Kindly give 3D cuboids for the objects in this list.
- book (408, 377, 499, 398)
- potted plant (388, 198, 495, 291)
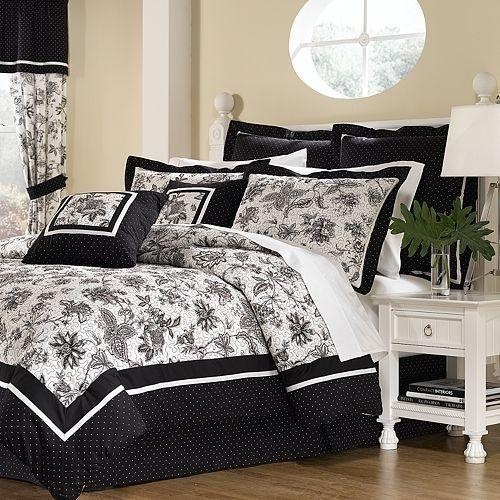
[{"bbox_3d":[0.757,0.538,2.035,0.160,0.019,0.137,-1,0,-22],"label":"book"},{"bbox_3d":[0.842,-0.027,2.244,0.485,0.416,0.406,2,-5,3],"label":"potted plant"}]
